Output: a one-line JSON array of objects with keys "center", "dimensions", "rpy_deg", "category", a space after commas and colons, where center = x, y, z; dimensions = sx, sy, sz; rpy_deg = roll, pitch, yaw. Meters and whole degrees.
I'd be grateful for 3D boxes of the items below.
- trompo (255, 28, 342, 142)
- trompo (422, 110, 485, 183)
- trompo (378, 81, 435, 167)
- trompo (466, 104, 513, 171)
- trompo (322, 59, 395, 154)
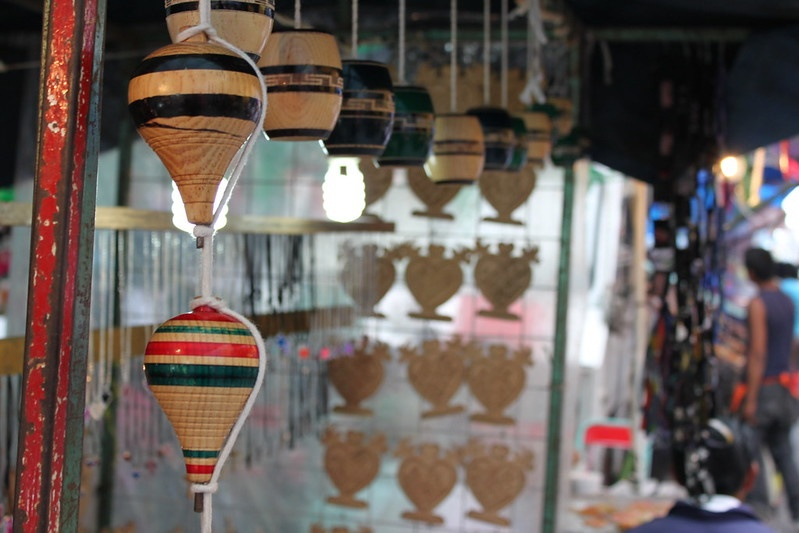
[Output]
[{"center": [-0.231, -0.425, 3.331], "dimensions": [0.217, 0.289, 0.212], "rpy_deg": [2, -1, -25], "category": "trompo"}, {"center": [0.139, -0.298, 3.476], "dimensions": [0.144, 0.163, 0.156], "rpy_deg": [1, -1, -1], "category": "trompo"}, {"center": [0.023, -0.359, 3.392], "dimensions": [0.154, 0.222, 0.169], "rpy_deg": [2, 6, -1], "category": "trompo"}, {"center": [0.222, -0.327, 3.586], "dimensions": [0.099, 0.159, 0.153], "rpy_deg": [-1, 4, 1], "category": "trompo"}, {"center": [-0.085, -0.369, 3.300], "dimensions": [0.184, 0.216, 0.198], "rpy_deg": [1, -3, 1], "category": "trompo"}]
